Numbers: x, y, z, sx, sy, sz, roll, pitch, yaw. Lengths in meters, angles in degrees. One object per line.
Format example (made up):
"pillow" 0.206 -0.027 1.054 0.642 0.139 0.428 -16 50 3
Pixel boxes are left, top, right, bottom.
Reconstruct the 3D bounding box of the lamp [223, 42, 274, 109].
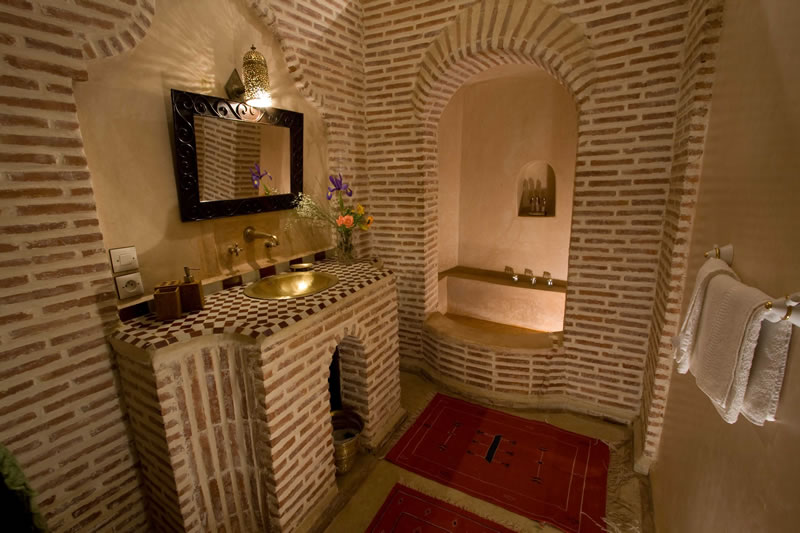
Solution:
"lamp" -1.097 -1.372 3.836 0.317 0.419 0.297 1 12 -13

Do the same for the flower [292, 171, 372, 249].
"flower" -0.513 -0.470 4.557 0.639 0.662 0.639 -2 16 32

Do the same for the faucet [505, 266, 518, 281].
"faucet" 1.406 0.090 6.708 0.121 0.105 0.191 -5 -17 36

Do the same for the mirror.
"mirror" -1.073 -0.810 3.898 0.983 0.797 0.177 6 8 17

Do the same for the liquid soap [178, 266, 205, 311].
"liquid soap" -1.394 0.146 3.541 0.143 0.281 0.206 -2 13 -22

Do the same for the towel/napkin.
"towel/napkin" 1.758 0.429 2.814 0.265 0.857 0.588 2 12 -8

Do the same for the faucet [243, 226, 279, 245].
"faucet" -1.020 -0.227 4.031 0.321 0.133 0.099 9 38 25

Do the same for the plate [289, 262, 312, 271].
"plate" -0.805 -0.002 4.307 0.176 0.063 0.281 2 11 -6

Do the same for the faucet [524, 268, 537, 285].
"faucet" 1.613 0.116 6.528 0.156 0.220 0.221 -1 2 -10

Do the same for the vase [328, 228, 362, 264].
"vase" -0.451 -0.184 4.645 0.305 0.317 0.279 9 23 18
